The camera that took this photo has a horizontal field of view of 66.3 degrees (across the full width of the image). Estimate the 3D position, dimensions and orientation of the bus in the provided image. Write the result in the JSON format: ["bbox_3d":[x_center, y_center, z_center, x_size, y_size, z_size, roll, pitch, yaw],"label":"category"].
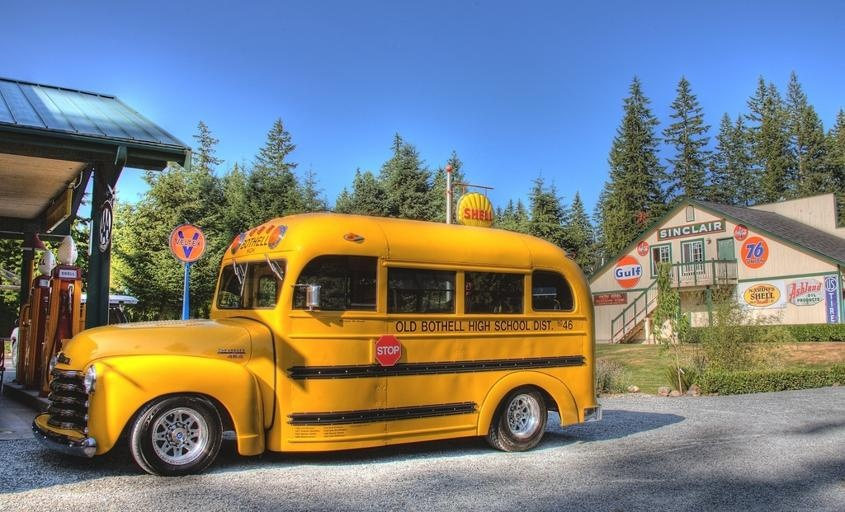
[{"bbox_3d":[-1.916,1.431,13.772,9.338,4.106,4.992,5,-8,-24],"label":"bus"}]
